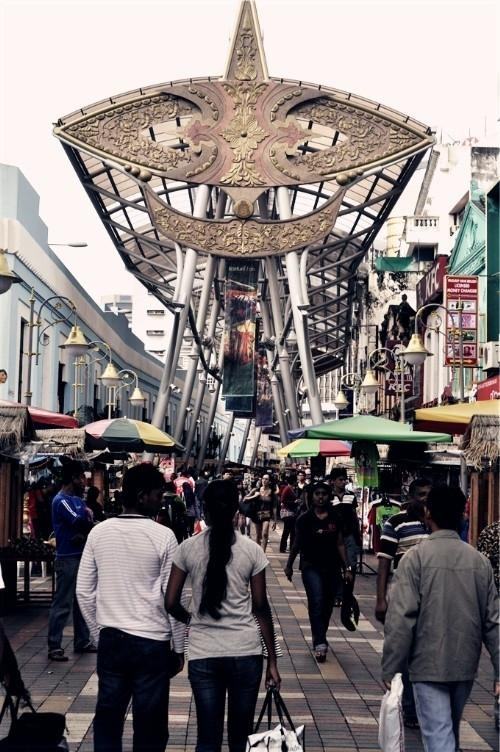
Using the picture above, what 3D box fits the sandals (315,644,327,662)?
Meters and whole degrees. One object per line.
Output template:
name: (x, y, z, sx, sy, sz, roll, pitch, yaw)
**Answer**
sandals: (0.710, 2.780, 8.977, 0.099, 0.115, 0.278, 0, -13, 0)
